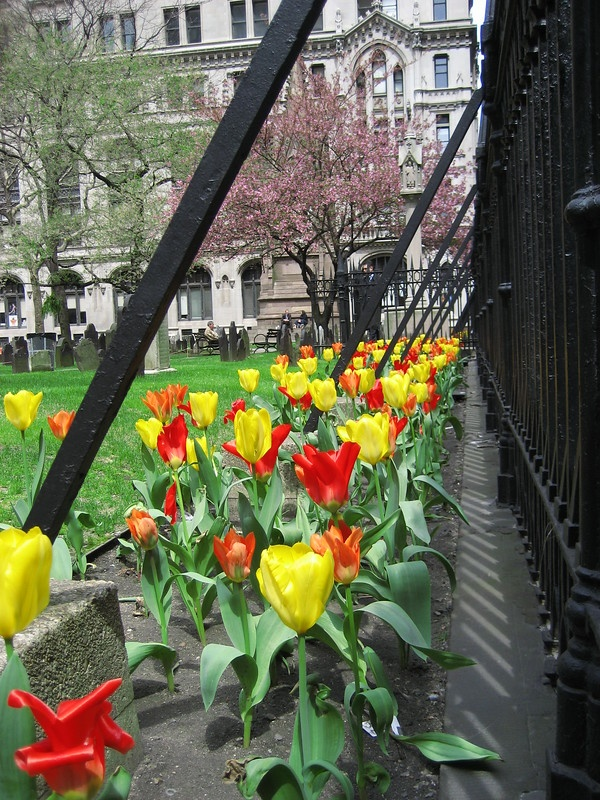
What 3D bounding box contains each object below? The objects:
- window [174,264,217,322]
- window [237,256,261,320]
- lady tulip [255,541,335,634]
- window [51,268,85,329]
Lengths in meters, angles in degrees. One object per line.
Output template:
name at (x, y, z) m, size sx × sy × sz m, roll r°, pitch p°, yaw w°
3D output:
window at (-6.564, -6.655, 44.377) m, size 2.169 × 3.755 × 0.416 m, roll -6°, pitch 31°, yaw -15°
window at (-2.793, -6.642, 43.127) m, size 1.440 × 4.134 × 0.319 m, roll -2°, pitch -22°, yaw -5°
lady tulip at (-0.006, 0.242, 0.917) m, size 0.087 × 0.145 × 0.156 m, roll 2°, pitch 7°, yaw -2°
window at (-13.281, -6.299, 41.841) m, size 1.671 × 4.441 × 0.377 m, roll -2°, pitch -26°, yaw -26°
